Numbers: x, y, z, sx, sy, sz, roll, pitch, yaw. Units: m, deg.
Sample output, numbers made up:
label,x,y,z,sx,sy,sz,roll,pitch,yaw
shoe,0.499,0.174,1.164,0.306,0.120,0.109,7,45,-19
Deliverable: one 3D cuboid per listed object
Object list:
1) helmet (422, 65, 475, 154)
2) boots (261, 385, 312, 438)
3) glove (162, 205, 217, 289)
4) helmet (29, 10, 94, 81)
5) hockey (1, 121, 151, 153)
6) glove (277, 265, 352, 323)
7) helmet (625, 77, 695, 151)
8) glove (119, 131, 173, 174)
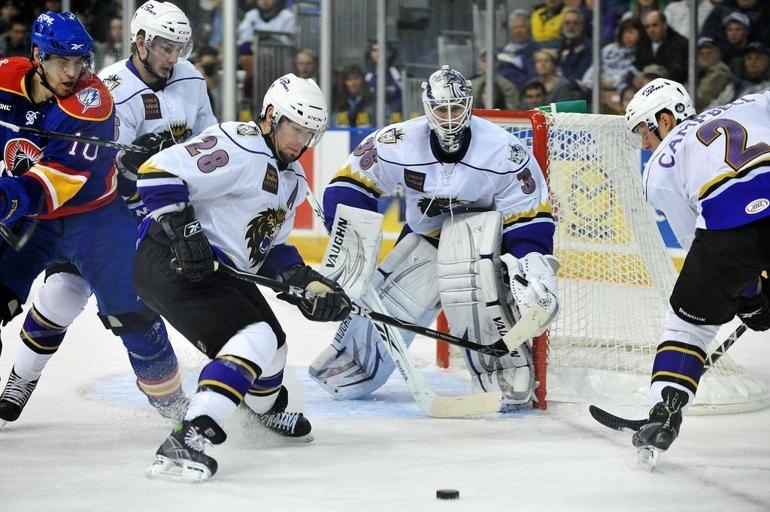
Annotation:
label,x,y,z,sx,sy,sz,roll,pitch,yaw
helmet,0.320,-0.750,4.708,0.240,0.444,0.412,1,34,3
boots,-0.464,0.768,4.567,0.366,0.299,0.128,3,3,43
glove,-0.859,-0.054,4.084,0.202,0.337,0.132,-12,-14,-27
helmet,-1.492,-0.988,4.273,0.258,0.293,0.221,9,19,21
hockey,-1.468,-0.573,4.436,0.689,0.159,0.369,-4,10,-27
glove,-0.332,0.156,4.378,0.328,0.144,0.198,41,77,19
helmet,1.372,-0.717,4.691,0.344,0.374,0.287,-9,2,22
glove,-1.254,-0.579,4.919,0.275,0.107,0.201,-28,42,-25
